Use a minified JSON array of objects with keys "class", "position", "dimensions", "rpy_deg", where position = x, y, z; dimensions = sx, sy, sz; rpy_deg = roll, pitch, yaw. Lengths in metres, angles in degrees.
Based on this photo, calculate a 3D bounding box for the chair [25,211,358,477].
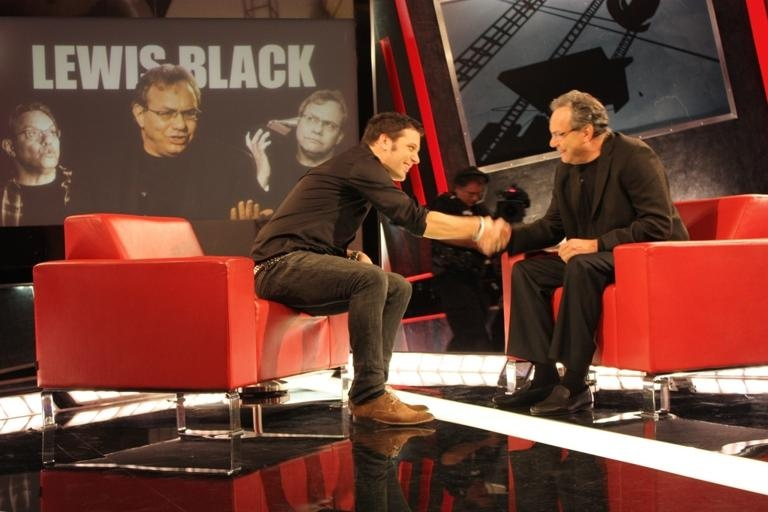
[{"class":"chair","position":[-0.888,0.377,4.375],"dimensions":[1.278,1.381,1.643],"rpy_deg":[-2,-2,15]}]

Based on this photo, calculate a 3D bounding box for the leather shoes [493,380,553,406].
[{"class":"leather shoes","position":[0.743,0.741,4.331],"dimensions":[0.351,0.115,0.118],"rpy_deg":[0,-4,-5]}]

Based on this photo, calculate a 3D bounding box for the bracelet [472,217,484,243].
[{"class":"bracelet","position":[0.516,-0.143,4.282],"dimensions":[0.036,0.095,0.088],"rpy_deg":[12,-6,-15]}]

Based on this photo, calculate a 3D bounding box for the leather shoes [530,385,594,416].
[{"class":"leather shoes","position":[0.917,0.752,4.174],"dimensions":[0.334,0.109,0.131],"rpy_deg":[-3,-5,-20]}]

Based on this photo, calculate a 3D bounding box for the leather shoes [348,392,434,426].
[{"class":"leather shoes","position":[0.048,0.765,4.054],"dimensions":[0.326,0.113,0.196],"rpy_deg":[1,-4,-3]}]
